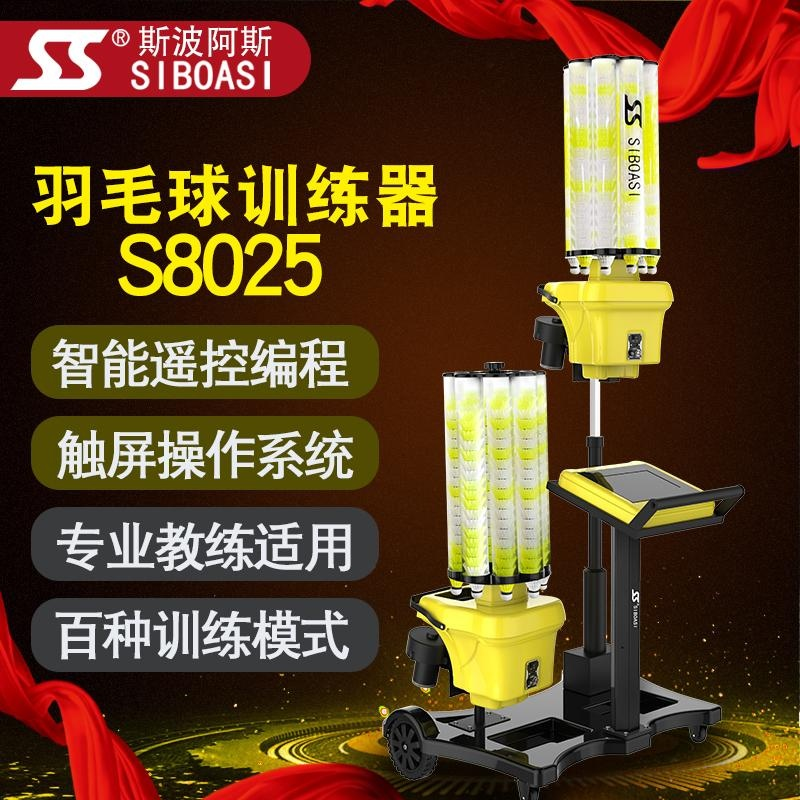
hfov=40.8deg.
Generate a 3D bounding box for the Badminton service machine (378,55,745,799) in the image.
[{"bbox_3d":[0.468,0.143,2.957,0.931,2.090,0.643,-13,17,-31],"label":"Badminton service machine"}]
